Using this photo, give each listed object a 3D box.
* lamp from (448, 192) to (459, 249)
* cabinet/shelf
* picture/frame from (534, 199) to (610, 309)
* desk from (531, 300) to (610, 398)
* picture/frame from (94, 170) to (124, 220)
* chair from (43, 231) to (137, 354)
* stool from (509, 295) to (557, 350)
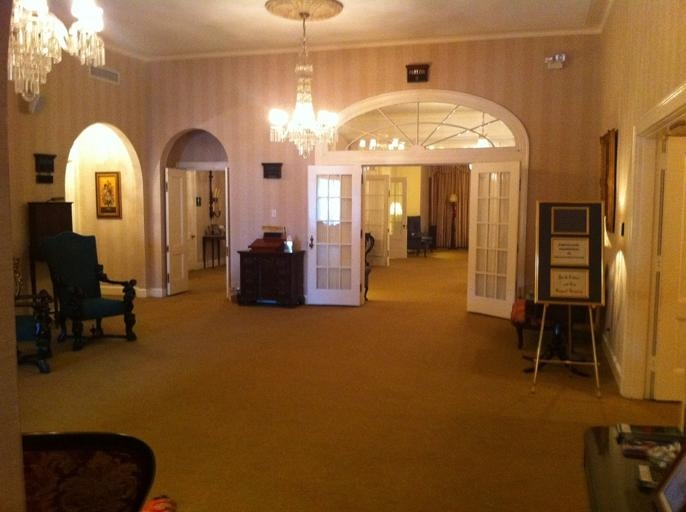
[{"bbox_3d":[3.900,-1.280,18.829,0.344,1.956,0.410,1,8,6],"label":"lamp"},{"bbox_3d":[-1.147,0.262,8.653,1.157,1.145,0.773,0,2,12],"label":"cabinet/shelf"},{"bbox_3d":[2.213,-0.034,5.170,0.598,0.960,0.273,2,8,17],"label":"picture/frame"},{"bbox_3d":[2.457,1.018,5.743,0.623,1.032,0.677,-3,8,-5],"label":"desk"},{"bbox_3d":[-4.029,-1.081,9.130,0.706,1.182,0.079,1,2,9],"label":"picture/frame"},{"bbox_3d":[-3.128,0.374,6.583,0.919,1.408,0.971,-4,4,-34],"label":"chair"},{"bbox_3d":[2.287,0.723,6.382,0.586,0.748,0.578,0,1,-35],"label":"stool"}]
